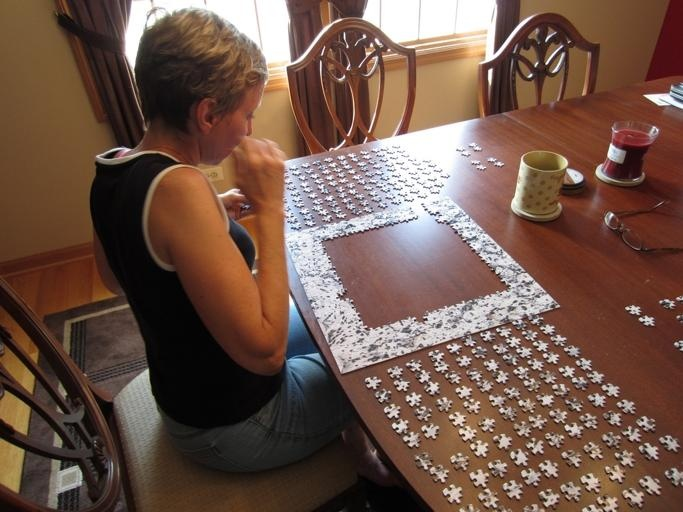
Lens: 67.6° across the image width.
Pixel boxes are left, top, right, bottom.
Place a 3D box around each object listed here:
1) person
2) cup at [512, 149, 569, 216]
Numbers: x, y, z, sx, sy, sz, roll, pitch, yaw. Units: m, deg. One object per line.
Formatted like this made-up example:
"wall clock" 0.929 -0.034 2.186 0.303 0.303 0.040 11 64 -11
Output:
"person" -0.298 0.031 1.353 0.661 1.184 0.479 -4 33 0
"cup" 0.645 -0.229 1.743 0.181 0.183 0.194 -3 35 2
